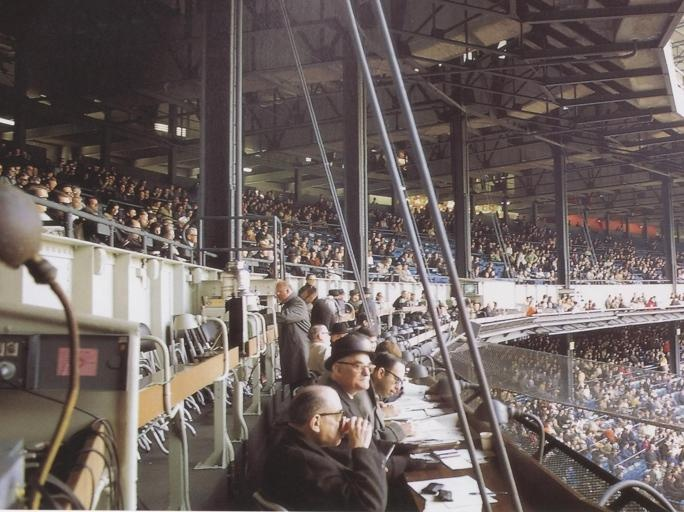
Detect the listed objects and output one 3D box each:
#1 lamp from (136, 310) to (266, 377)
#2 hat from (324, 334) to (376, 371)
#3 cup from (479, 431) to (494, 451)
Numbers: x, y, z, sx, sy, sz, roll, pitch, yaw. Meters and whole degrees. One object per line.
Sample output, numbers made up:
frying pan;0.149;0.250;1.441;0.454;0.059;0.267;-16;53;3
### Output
lamp;-2.111;1.322;11.652;2.023;1.369;1.113;1;-2;24
hat;0.148;1.405;11.099;0.596;0.283;0.728;-5;-11;-1
cup;2.079;2.652;10.967;0.171;0.248;0.280;-1;-3;4
